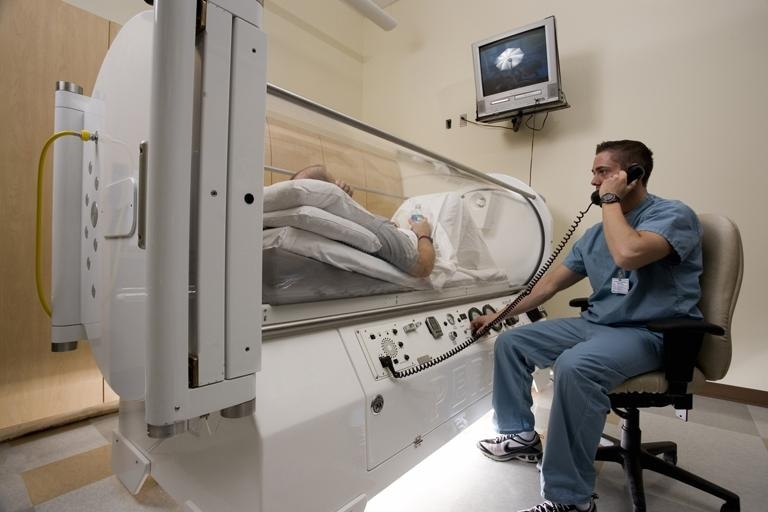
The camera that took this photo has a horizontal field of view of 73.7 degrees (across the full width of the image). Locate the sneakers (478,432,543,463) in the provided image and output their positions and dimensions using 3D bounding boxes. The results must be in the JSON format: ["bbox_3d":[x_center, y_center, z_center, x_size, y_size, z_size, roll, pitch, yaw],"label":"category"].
[{"bbox_3d":[0.715,1.048,2.901,0.382,0.192,0.141,4,-5,8],"label":"sneakers"}]

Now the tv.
[{"bbox_3d":[0.970,-1.506,4.076,0.684,0.635,0.322,-15,34,-4],"label":"tv"}]

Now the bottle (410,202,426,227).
[{"bbox_3d":[0.181,-0.235,2.888,0.093,0.145,0.105,-5,18,-10],"label":"bottle"}]
